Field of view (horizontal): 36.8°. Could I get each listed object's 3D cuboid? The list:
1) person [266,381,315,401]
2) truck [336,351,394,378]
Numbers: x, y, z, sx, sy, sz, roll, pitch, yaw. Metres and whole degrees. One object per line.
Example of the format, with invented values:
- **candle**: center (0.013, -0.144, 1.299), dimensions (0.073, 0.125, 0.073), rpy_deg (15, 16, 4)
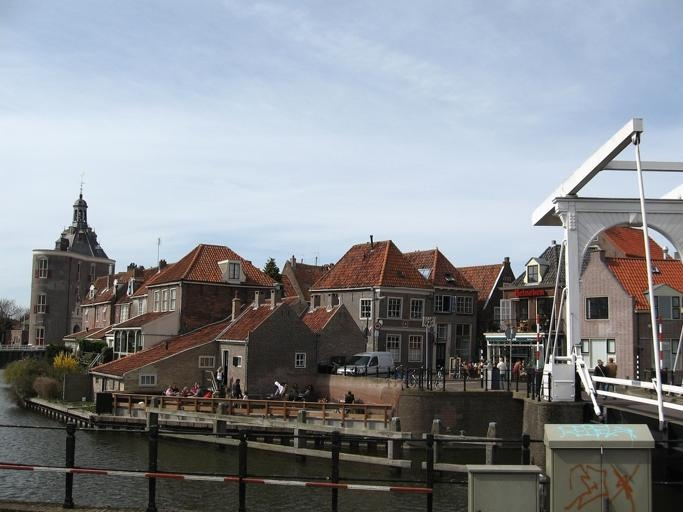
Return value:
- **person**: center (-3.120, 8.027, 60.094), dimensions (2.321, 0.996, 1.304), rpy_deg (0, -8, 25)
- **truck**: center (1.695, 6.485, 61.234), dimensions (2.689, 1.398, 1.528), rpy_deg (8, -11, -32)
